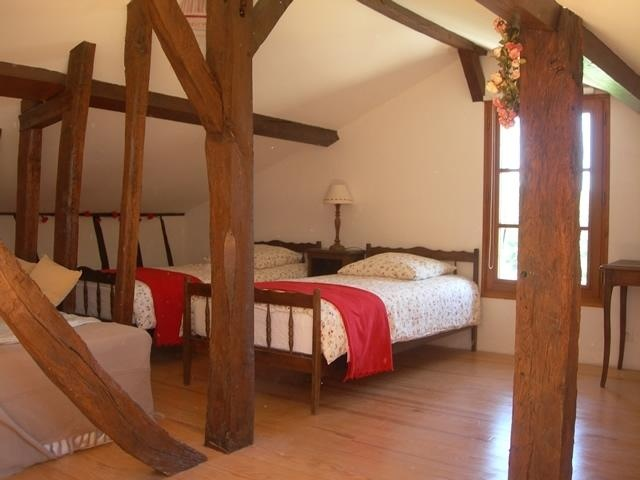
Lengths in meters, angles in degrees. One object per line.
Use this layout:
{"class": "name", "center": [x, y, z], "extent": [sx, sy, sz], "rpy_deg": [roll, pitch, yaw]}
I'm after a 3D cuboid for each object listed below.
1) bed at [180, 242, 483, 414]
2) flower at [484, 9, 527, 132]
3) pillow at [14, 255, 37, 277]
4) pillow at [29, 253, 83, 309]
{"class": "bed", "center": [0.507, 0.583, 4.585], "extent": [1.275, 1.026, 2.266], "rpy_deg": [1, 1, 35]}
{"class": "flower", "center": [0.984, -0.908, 2.654], "extent": [0.165, 0.563, 0.501], "rpy_deg": [2, 5, 18]}
{"class": "pillow", "center": [-1.989, 0.169, 3.370], "extent": [0.121, 0.038, 0.119], "rpy_deg": [20, 18, -2]}
{"class": "pillow", "center": [-1.946, 0.285, 3.649], "extent": [0.367, 0.318, 0.245], "rpy_deg": [4, 6, 41]}
